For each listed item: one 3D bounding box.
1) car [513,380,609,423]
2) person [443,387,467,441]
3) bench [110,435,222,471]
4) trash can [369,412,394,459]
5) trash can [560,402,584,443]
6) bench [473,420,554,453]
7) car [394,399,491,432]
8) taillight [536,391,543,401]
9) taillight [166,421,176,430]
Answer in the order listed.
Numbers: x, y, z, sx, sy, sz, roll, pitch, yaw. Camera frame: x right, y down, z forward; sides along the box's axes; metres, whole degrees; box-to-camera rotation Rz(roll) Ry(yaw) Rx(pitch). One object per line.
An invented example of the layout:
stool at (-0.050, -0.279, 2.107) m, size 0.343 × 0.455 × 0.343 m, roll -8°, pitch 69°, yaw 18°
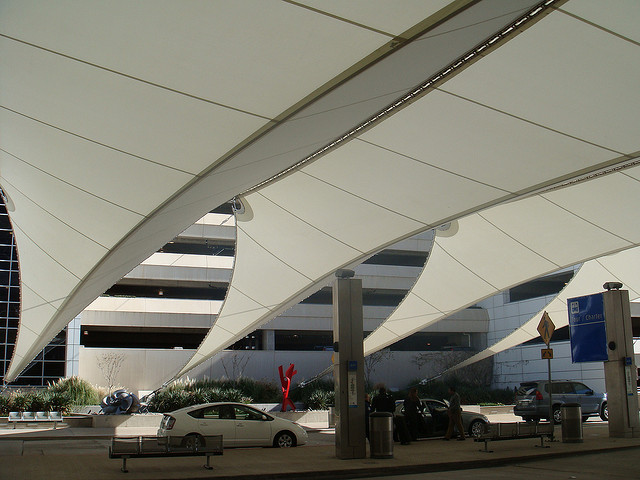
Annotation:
car at (10.457, 7.047, 30.983) m, size 2.737 × 1.956 × 4.202 m, roll -16°, pitch -24°, yaw 37°
person at (4.456, 5.846, 23.678) m, size 0.685 × 1.761 × 1.528 m, roll -4°, pitch -19°, yaw 9°
bench at (-3.731, 5.053, 17.242) m, size 2.650 × 0.487 × 0.468 m, roll 3°, pitch -19°, yaw -12°
trash can at (1.654, 5.337, 19.178) m, size 0.659 × 1.200 × 0.604 m, roll -2°, pitch -19°, yaw 3°
trash can at (7.901, 5.788, 22.233) m, size 0.642 × 1.198 × 0.495 m, roll -6°, pitch -19°, yaw 15°
bench at (5.730, 5.826, 21.087) m, size 2.777 × 0.756 × 0.664 m, roll 8°, pitch -8°, yaw -31°
car at (4.319, 6.279, 24.878) m, size 3.096 × 0.973 × 1.371 m, roll 4°, pitch -15°, yaw -12°
taillight at (9.309, 6.646, 30.040) m, size 0.264 × 0.370 × 0.106 m, roll -6°, pitch -19°, yaw 15°
taillight at (-4.331, 5.420, 20.574) m, size 0.242 × 0.216 × 0.063 m, roll -2°, pitch -24°, yaw 38°
